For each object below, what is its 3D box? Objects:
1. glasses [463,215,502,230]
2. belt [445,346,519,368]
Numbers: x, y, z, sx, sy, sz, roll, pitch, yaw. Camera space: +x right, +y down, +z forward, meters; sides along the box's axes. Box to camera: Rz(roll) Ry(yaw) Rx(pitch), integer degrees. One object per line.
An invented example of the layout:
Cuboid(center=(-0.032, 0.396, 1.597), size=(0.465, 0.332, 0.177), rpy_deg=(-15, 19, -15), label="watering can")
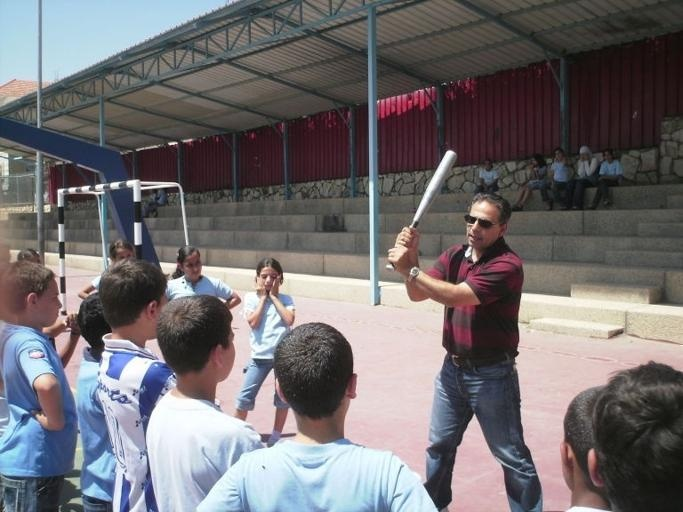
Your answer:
Cuboid(center=(0.880, -0.223, 4.579), size=(0.239, 0.083, 0.112), rpy_deg=(7, 9, 43), label="glasses")
Cuboid(center=(0.897, 0.648, 4.484), size=(0.445, 0.112, 0.160), rpy_deg=(2, 7, 13), label="belt")
